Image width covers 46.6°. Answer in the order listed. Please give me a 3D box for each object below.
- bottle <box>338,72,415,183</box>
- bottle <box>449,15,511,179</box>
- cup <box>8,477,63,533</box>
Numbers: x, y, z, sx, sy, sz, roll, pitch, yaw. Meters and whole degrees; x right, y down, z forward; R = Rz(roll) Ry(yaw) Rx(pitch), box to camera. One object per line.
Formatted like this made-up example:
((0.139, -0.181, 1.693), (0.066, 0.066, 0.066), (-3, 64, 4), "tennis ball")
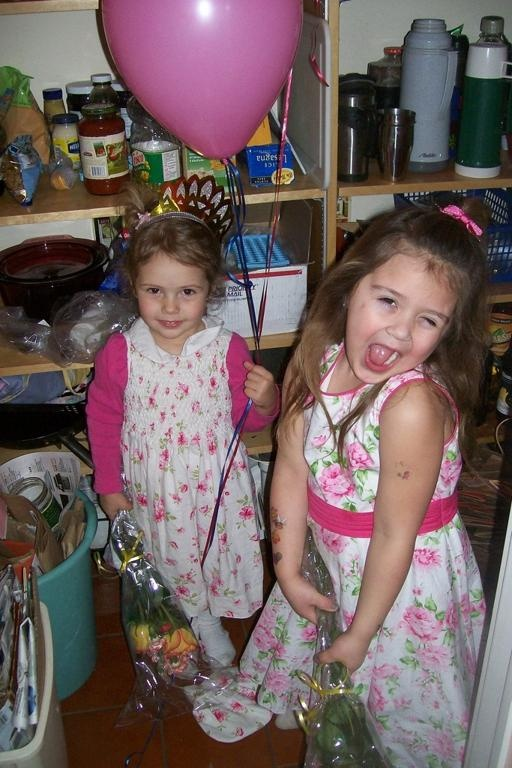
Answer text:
((0.268, -0.573, 1.324), (0.173, 0.219, 0.175), (-1, 24, 0), "bottle")
((0.541, -0.686, 1.408), (0.106, 0.349, 0.300), (6, 25, 17), "bottle")
((-0.508, 0.268, 1.417), (0.110, 0.121, 0.114), (-2, 49, 2), "cup")
